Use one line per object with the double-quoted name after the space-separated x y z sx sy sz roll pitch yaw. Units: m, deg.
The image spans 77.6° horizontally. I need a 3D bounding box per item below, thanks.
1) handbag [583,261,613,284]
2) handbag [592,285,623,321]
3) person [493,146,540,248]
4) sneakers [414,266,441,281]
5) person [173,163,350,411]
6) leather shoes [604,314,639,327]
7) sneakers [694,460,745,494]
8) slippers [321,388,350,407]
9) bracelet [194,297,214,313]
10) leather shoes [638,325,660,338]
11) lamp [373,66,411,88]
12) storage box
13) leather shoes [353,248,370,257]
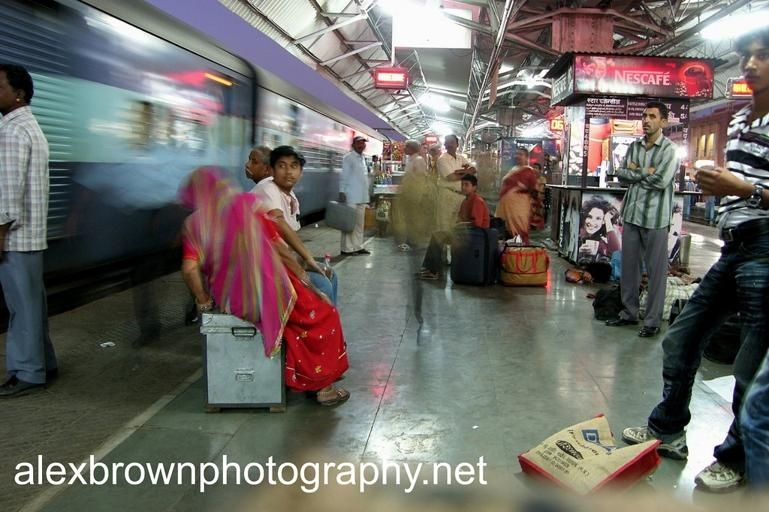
3.444 0.275 7.672 0.422 0.156 0.325 -4 4 -12 "handbag"
2.654 0.568 5.763 0.421 0.391 0.325 2 -4 6 "handbag"
2.440 -1.100 8.608 0.592 1.656 0.852 -1 12 -6 "person"
0.712 0.280 7.568 0.502 0.202 0.162 0 21 -1 "sneakers"
-0.832 0.248 3.439 1.080 1.731 0.429 3 12 13 "person"
2.698 0.748 5.492 0.402 0.152 0.138 3 2 5 "leather shoes"
1.845 1.219 2.645 0.243 0.093 0.125 -10 13 1 "sneakers"
-0.352 1.053 3.603 0.216 0.074 0.099 -6 8 -30 "slippers"
-1.279 0.358 3.416 0.141 0.119 0.079 -1 1 -7 "bracelet"
2.811 0.808 5.061 0.255 0.097 0.094 -1 5 -2 "leather shoes"
0.323 -8.018 21.553 1.368 1.010 0.887 0 11 -5 "lamp"
-0.985 0.734 3.719 0.675 0.691 0.757 0 1 -2 "storage box"
-0.454 -0.060 9.800 0.357 0.133 0.112 -3 6 -7 "leather shoes"
